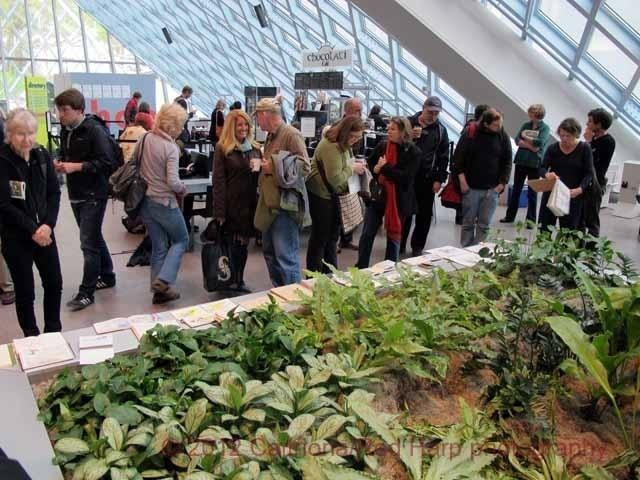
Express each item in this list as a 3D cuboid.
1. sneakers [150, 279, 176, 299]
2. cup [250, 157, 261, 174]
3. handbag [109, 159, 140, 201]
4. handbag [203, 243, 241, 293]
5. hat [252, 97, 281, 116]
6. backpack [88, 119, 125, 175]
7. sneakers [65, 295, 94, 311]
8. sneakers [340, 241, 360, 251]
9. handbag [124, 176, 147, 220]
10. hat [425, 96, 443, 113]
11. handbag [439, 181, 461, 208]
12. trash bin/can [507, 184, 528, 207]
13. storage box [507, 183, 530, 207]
[{"bbox_3d":[-1.477,0.489,4.582,0.115,0.141,0.335,47,-1,17],"label":"sneakers"},{"bbox_3d":[-0.545,-0.654,4.115,0.114,0.124,0.104,0,43,0],"label":"cup"},{"bbox_3d":[-1.733,-0.535,4.234,0.243,0.304,0.169,53,19,25],"label":"handbag"},{"bbox_3d":[-0.931,0.244,4.501,0.363,0.569,0.214,-3,15,-11],"label":"handbag"},{"bbox_3d":[-0.450,-1.169,4.075,0.193,0.170,0.179,-1,-23,0],"label":"hat"},{"bbox_3d":[-2.034,-0.890,4.534,0.271,0.611,0.735,-2,15,-23],"label":"backpack"},{"bbox_3d":[-2.240,0.590,4.423,0.086,0.101,0.236,0,2,5],"label":"sneakers"},{"bbox_3d":[0.401,0.081,6.256,0.262,0.131,0.097,-2,9,6],"label":"sneakers"},{"bbox_3d":[-1.635,-0.397,4.219,0.109,0.228,0.273,10,-29,-23],"label":"handbag"},{"bbox_3d":[1.277,-1.553,5.378,0.197,0.178,0.319,7,14,10],"label":"hat"},{"bbox_3d":[1.494,-0.517,5.375,0.228,0.334,0.306,7,13,15],"label":"handbag"},{"bbox_3d":[3.378,-0.760,8.075,0.390,0.448,0.333,0,7,2],"label":"trash bin/can"},{"bbox_3d":[3.719,-0.823,8.762,0.401,0.472,0.353,-1,7,-2],"label":"storage box"}]
